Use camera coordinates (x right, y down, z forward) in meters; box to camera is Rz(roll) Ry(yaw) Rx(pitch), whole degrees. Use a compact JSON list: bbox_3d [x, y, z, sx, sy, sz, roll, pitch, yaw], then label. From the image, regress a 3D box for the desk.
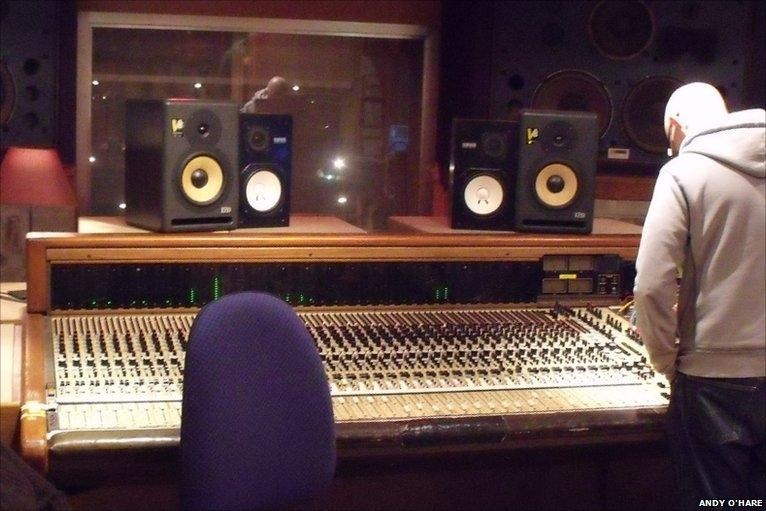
[{"bbox_3d":[-0.162,0.266,2.666,2.503,0.664,1.090,-2,11,-7],"label":"desk"}]
